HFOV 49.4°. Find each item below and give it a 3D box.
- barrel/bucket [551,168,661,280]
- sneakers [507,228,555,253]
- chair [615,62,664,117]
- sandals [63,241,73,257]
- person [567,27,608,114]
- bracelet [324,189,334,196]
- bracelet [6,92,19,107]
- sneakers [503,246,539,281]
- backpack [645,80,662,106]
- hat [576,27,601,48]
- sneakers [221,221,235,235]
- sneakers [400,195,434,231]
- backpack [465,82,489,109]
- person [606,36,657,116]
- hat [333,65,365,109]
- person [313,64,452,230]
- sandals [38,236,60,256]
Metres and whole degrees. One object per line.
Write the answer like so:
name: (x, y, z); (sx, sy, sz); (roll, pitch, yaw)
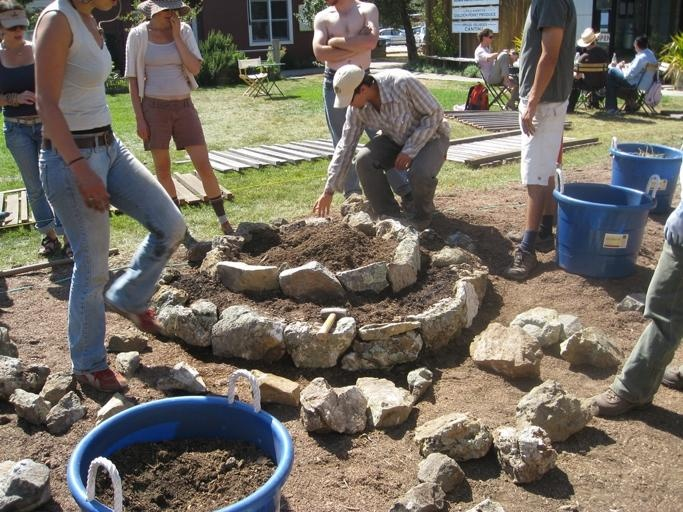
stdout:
barrel/bucket: (2.060, -0.304, 6.341); (0.804, 0.900, 0.935); (0, 15, -4)
sneakers: (1.748, -0.142, 6.782); (0.440, 0.205, 0.156); (15, 16, 9)
chair: (5.309, -2.950, 13.234); (0.497, 0.840, 0.705); (-19, 18, -41)
sandals: (-2.383, -0.049, 6.469); (0.079, 0.064, 0.223); (-9, 20, -28)
person: (4.541, -3.278, 13.439); (0.714, 1.468, 0.790); (-9, 18, -11)
bracelet: (-0.123, -0.548, 6.537); (0.065, 0.046, 0.069); (-6, 45, 7)
bracelet: (-2.869, -1.356, 6.467); (0.099, 0.107, 0.041); (1, -5, 5)
sneakers: (1.529, 0.045, 6.351); (0.163, 0.187, 0.390); (13, 31, 33)
backpack: (5.429, -2.835, 12.953); (0.208, 0.373, 0.420); (5, 42, 30)
hat: (4.427, -3.882, 13.306); (0.262, 0.329, 0.863); (5, 19, 13)
sneakers: (-1.040, -0.254, 6.800); (0.096, 0.117, 0.282); (-46, 5, -7)
sneakers: (0.710, -0.376, 6.969); (0.235, 0.400, 0.203); (-18, 0, 8)
backpack: (2.477, -2.872, 13.524); (0.413, 0.432, 0.594); (3, 19, 9)
person: (5.168, -3.251, 13.284); (0.777, 1.354, 0.568); (22, 36, 38)
hat: (0.068, -1.440, 6.353); (0.270, 0.348, 0.180); (-1, 18, -2)
person: (0.424, -0.969, 6.644); (1.099, 1.422, 0.664); (1, 18, 3)
sandals: (-2.696, -0.082, 6.855); (0.101, 0.127, 0.304); (-4, 10, -17)
